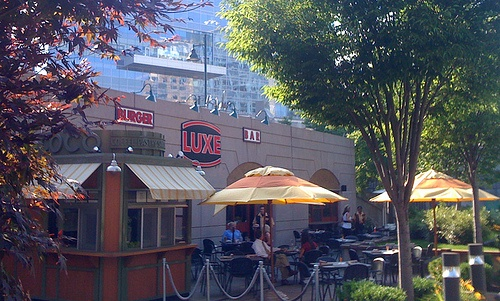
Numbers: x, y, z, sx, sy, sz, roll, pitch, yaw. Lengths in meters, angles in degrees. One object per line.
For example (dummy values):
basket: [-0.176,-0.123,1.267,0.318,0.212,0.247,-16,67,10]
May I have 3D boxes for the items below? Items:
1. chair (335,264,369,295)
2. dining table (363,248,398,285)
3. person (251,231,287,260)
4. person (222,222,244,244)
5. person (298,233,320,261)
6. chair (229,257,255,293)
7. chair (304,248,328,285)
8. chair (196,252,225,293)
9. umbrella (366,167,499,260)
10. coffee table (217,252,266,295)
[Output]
chair: [3.323,4.033,27.551,0.860,1.346,0.905,1,1,-1]
dining table: [4.563,3.952,29.589,1.175,1.527,1.176,5,-14,-27]
person: [0.571,3.393,30.602,1.059,0.749,0.669,0,-5,-4]
person: [-0.715,3.177,33.169,0.787,0.679,0.737,5,-11,-25]
person: [1.971,3.324,30.045,0.818,1.305,0.801,-2,2,-4]
chair: [-0.316,4.227,29.542,0.970,1.087,1.590,0,-11,-1]
chair: [2.365,3.825,29.730,0.790,1.223,0.902,0,1,-5]
chair: [-1.373,4.282,30.041,0.957,1.551,1.109,4,-23,-10]
umbrella: [7.492,2.206,32.079,2.768,3.461,4.198,-3,-11,15]
coffee table: [-0.095,4.158,29.674,1.268,1.860,1.348,0,7,-11]
